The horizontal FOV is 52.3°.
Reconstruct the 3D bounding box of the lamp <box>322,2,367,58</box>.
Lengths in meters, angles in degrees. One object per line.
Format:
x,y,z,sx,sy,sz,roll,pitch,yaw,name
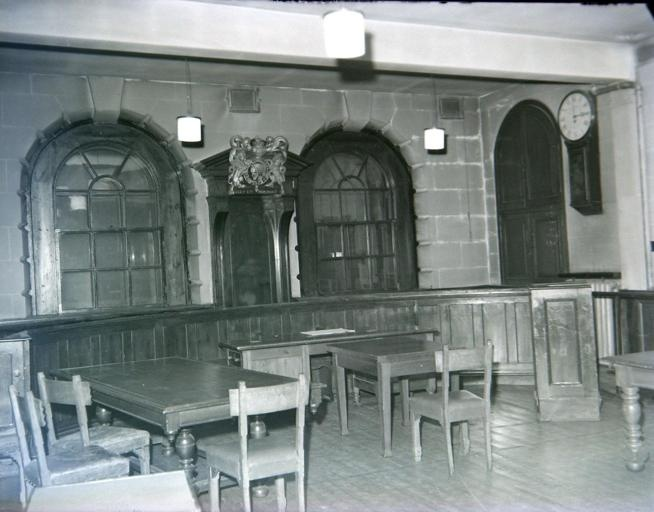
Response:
0.126,-1.762,5.208,0.372,0.407,0.375,3,15,19,lamp

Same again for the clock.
3.291,-1.333,8.603,0.240,1.604,0.589,-4,4,-22,clock

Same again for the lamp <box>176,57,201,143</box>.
-1.707,-1.845,8.184,0.332,0.924,1.025,-3,4,-11,lamp

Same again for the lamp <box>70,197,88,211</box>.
-3.164,-0.668,8.435,0.186,0.183,0.043,-6,3,-26,lamp
